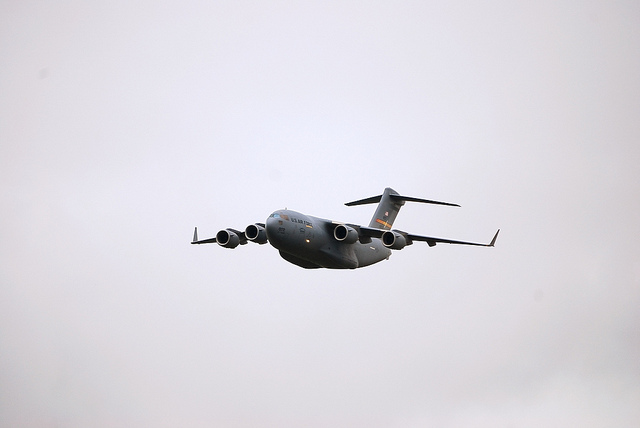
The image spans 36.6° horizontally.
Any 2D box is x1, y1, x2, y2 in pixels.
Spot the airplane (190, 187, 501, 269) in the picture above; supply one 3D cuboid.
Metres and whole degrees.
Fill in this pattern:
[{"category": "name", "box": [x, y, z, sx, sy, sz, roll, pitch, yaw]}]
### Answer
[{"category": "airplane", "box": [0.532, 1.057, 42.172, 13.348, 4.494, 3.583, 2, -92, -29]}]
